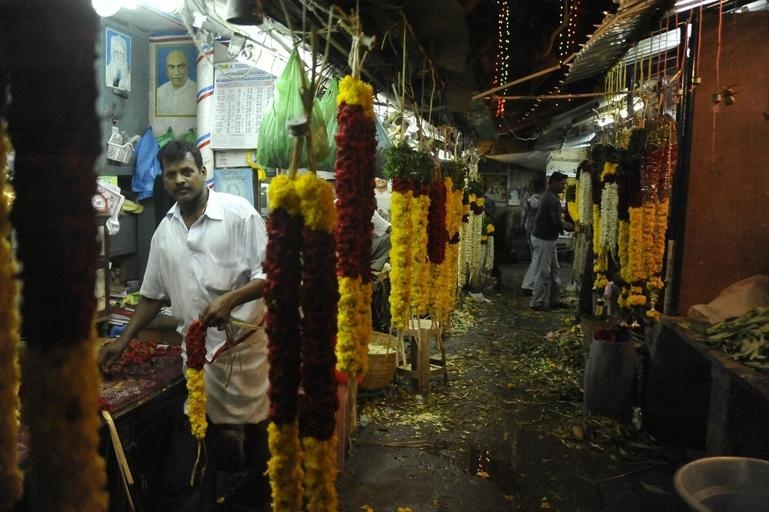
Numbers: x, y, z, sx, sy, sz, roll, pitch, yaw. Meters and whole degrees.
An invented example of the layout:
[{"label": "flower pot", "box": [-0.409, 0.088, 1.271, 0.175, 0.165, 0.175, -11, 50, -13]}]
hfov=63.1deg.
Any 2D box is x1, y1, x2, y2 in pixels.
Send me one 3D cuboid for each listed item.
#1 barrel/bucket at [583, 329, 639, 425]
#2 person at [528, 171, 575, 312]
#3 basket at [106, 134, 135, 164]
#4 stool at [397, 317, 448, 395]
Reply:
[{"label": "barrel/bucket", "box": [1.893, 0.975, 5.215, 0.405, 0.704, 0.325, 5, 14, 22]}, {"label": "person", "box": [2.419, -0.208, 9.111, 0.533, 2.020, 0.674, 2, 13, 12]}, {"label": "basket", "box": [-2.511, -0.989, 5.971, 0.289, 0.289, 0.227, 12, -9, -34]}, {"label": "stool", "box": [0.354, 0.957, 6.092, 0.554, 0.528, 0.546, 2, 8, 8]}]
